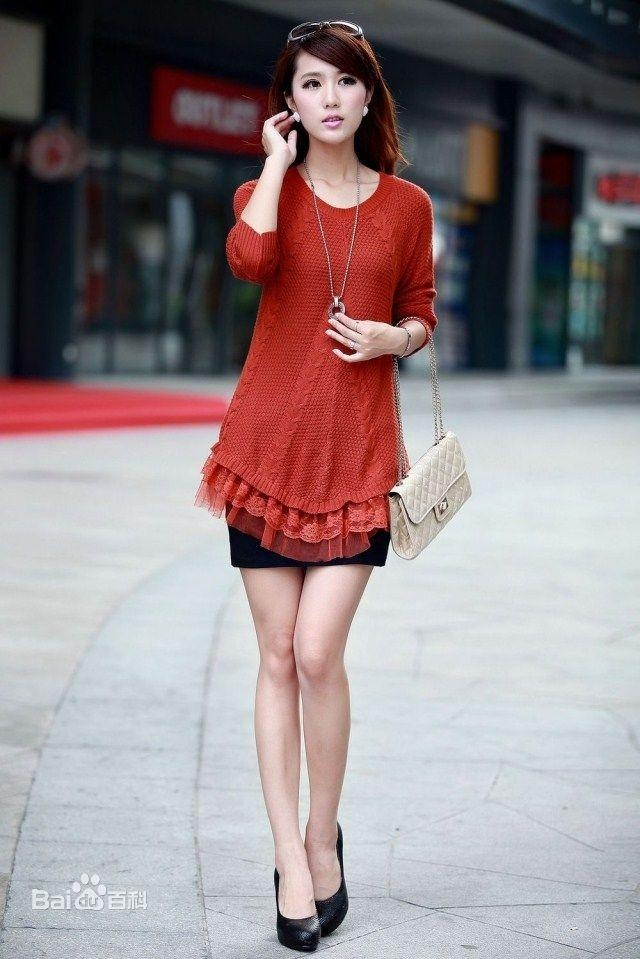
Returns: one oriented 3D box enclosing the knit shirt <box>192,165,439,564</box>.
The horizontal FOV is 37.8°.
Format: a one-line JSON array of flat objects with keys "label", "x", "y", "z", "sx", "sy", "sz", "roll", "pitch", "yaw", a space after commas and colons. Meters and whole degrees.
[{"label": "knit shirt", "x": 0.017, "y": -0.222, "z": 1.803, "sx": 0.478, "sy": 0.759, "sz": 0.305, "roll": 1, "pitch": 3, "yaw": -11}]
